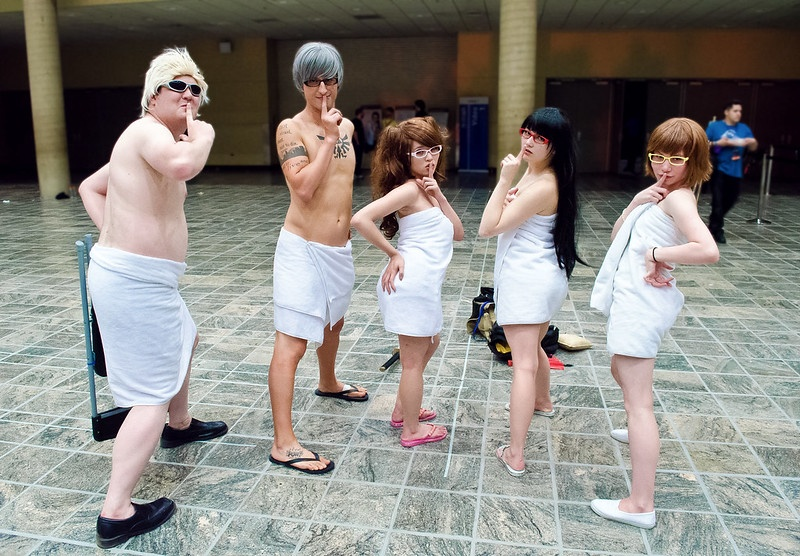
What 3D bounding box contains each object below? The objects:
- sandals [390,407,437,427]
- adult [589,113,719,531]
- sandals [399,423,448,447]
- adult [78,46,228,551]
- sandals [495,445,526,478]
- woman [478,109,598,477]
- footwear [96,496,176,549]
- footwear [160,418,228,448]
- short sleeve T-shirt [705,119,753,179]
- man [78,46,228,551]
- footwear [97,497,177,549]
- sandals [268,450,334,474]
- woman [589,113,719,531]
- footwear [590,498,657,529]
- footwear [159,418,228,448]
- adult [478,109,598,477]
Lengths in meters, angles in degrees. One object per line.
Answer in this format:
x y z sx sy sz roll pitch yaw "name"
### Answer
0.080 0.911 3.605 0.310 0.105 0.122 -6 15 -7 "sandals"
1.229 0.209 2.774 0.513 1.958 0.682 7 19 18 "adult"
0.155 0.946 3.391 0.241 0.052 0.126 -9 19 -17 "sandals"
-1.245 0.047 2.780 0.697 2.331 0.905 -4 18 -17 "adult"
0.641 1.040 3.150 0.093 0.066 0.205 -15 26 -9 "sandals"
0.684 0.070 3.107 0.495 1.984 0.641 8 19 21 "woman"
-1.298 1.174 2.786 0.143 0.144 0.384 11 19 36 "footwear"
-1.268 0.953 3.474 0.412 0.133 0.145 -7 13 -32 "footwear"
5.186 -1.976 8.486 0.719 0.840 0.319 3 47 40 "short sleeve T-shirt"
-1.245 0.047 2.780 0.697 2.331 0.905 -4 18 -17 "man"
-1.303 1.195 2.790 0.145 0.141 0.376 10 19 37 "footwear"
-0.556 1.032 3.166 0.272 0.048 0.138 3 10 20 "sandals"
1.229 0.209 2.774 0.513 1.958 0.682 7 19 18 "woman"
1.115 1.183 2.763 0.320 0.083 0.114 8 3 22 "footwear"
-1.281 0.955 3.469 0.416 0.133 0.146 -7 14 -33 "footwear"
0.684 0.070 3.107 0.495 1.984 0.641 8 19 21 "adult"
